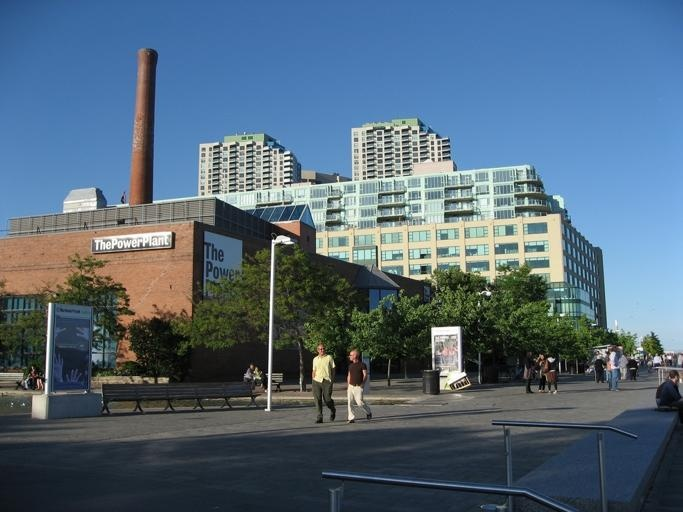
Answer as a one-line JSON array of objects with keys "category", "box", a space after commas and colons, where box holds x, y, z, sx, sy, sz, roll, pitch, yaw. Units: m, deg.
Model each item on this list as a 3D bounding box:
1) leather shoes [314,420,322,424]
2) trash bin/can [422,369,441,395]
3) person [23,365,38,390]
[{"category": "leather shoes", "box": [-0.598, 4.709, 22.142, 0.188, 0.090, 0.283, -1, -9, -4]}, {"category": "trash bin/can", "box": [3.946, 5.549, 34.292, 0.911, 0.977, 0.929, -2, -8, 17]}, {"category": "person", "box": [-15.558, 6.226, 39.801, 0.645, 1.186, 2.215, 2, -9, -23]}]
